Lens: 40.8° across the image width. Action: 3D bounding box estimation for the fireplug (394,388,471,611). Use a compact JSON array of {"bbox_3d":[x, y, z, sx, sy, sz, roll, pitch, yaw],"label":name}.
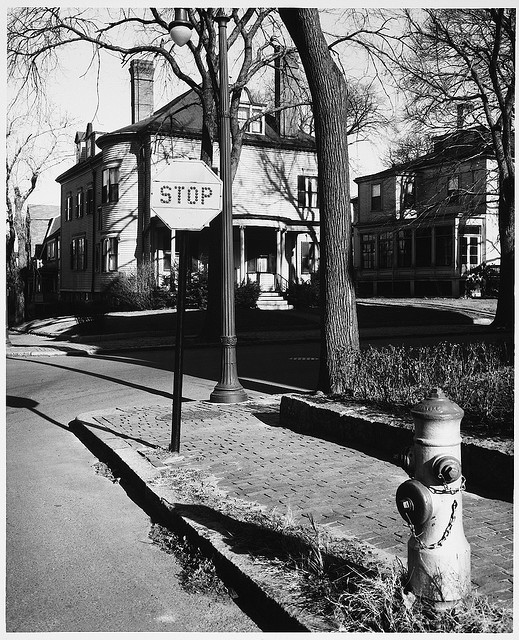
[{"bbox_3d":[0.932,0.921,3.802,0.289,1.123,0.459,-5,8,-16],"label":"fireplug"}]
